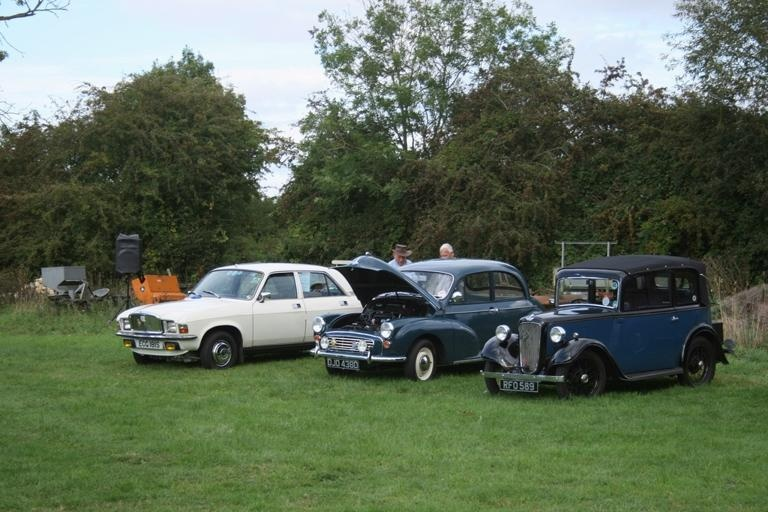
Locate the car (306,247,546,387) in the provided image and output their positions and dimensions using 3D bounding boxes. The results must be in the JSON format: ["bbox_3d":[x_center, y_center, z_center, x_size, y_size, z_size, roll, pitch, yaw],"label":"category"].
[{"bbox_3d":[1.111,1.225,18.952,2.421,2.075,4.735,-4,-4,43],"label":"car"}]

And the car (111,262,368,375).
[{"bbox_3d":[-3.138,1.305,19.909,4.769,1.832,2.534,3,-5,-44],"label":"car"}]

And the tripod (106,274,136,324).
[{"bbox_3d":[-8.961,1.437,28.994,1.265,1.672,1.260,4,-6,-12],"label":"tripod"}]

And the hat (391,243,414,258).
[{"bbox_3d":[0.410,-0.233,21.320,0.486,0.220,0.557,4,-3,-5],"label":"hat"}]
